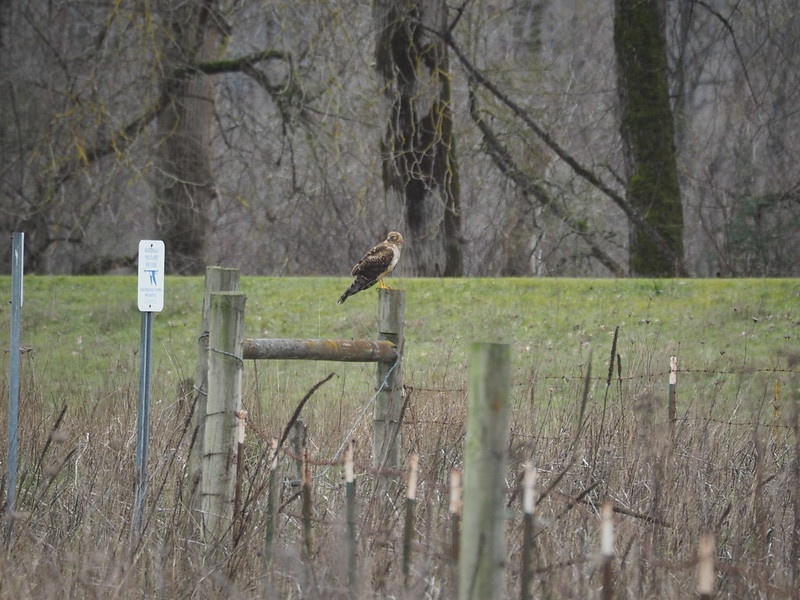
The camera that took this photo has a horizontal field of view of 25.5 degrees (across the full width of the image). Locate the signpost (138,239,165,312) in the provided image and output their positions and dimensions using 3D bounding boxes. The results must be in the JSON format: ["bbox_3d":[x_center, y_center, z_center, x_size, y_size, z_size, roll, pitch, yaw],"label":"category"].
[{"bbox_3d":[-2.172,-0.203,15.391,0.213,0.636,0.218,0,-1,-3],"label":"signpost"}]

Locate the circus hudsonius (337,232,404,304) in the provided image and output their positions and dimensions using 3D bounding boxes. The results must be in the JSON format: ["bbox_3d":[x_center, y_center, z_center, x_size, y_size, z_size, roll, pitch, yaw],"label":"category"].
[{"bbox_3d":[-0.246,-0.347,17.863,0.581,0.676,1.053,0,-1,22],"label":"circus hudsonius"}]
